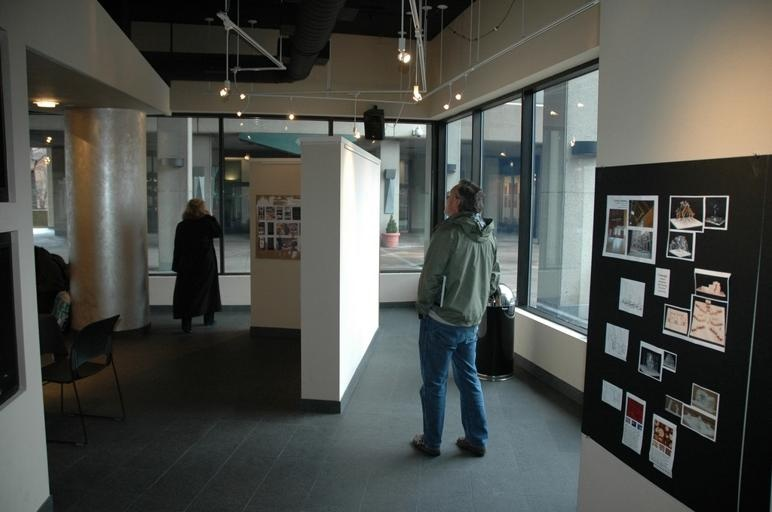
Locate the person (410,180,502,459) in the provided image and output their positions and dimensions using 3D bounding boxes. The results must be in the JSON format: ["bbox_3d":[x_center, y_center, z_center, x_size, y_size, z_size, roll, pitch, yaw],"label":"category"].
[{"bbox_3d":[0.636,0.576,4.918,0.763,2.491,0.512,-2,10,-9],"label":"person"}]

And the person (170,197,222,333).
[{"bbox_3d":[-2.981,0.145,8.410,0.740,2.049,0.295,-4,11,-22],"label":"person"}]

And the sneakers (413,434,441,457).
[{"bbox_3d":[0.380,1.777,5.018,0.110,0.124,0.270,-2,13,-29],"label":"sneakers"}]

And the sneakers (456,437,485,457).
[{"bbox_3d":[0.783,1.787,4.992,0.108,0.122,0.271,-2,8,-30],"label":"sneakers"}]

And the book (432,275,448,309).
[{"bbox_3d":[0.486,0.307,4.732,0.100,0.271,0.091,5,11,23],"label":"book"}]

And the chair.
[{"bbox_3d":[-3.251,1.095,5.750,0.718,1.141,1.736,-6,13,-30],"label":"chair"}]
